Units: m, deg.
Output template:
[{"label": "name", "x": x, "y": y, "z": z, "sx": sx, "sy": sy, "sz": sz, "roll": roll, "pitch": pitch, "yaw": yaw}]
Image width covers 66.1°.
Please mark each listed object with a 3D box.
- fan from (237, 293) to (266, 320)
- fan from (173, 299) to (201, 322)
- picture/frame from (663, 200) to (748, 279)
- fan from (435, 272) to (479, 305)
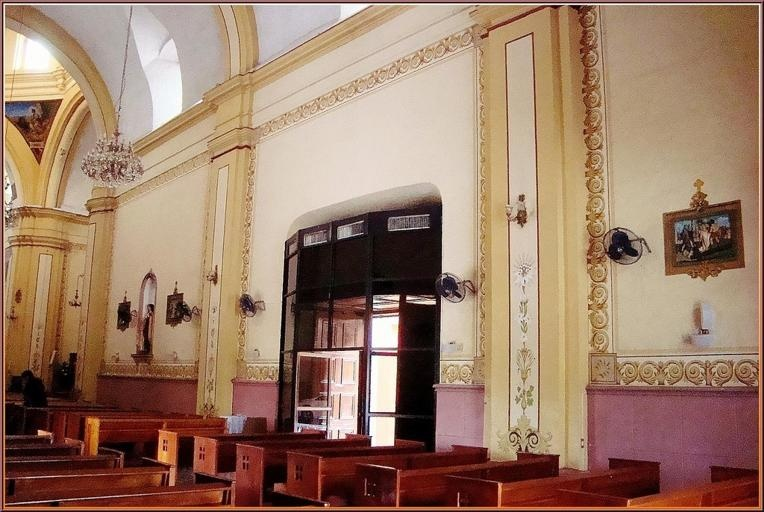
[{"label": "fan", "x": -2.345, "y": 0.857, "z": 10.330, "sx": 0.660, "sy": 0.444, "sz": 0.250, "roll": -12, "pitch": -18, "yaw": 43}, {"label": "fan", "x": -3.833, "y": 1.148, "z": 11.721, "sx": 0.525, "sy": 0.230, "sz": 0.548, "roll": 1, "pitch": -8, "yaw": 36}, {"label": "picture/frame", "x": 3.290, "y": -0.155, "z": 5.900, "sx": 0.779, "sy": 0.793, "sz": 0.087, "roll": -5, "pitch": -10, "yaw": 44}, {"label": "fan", "x": 0.980, "y": 0.415, "z": 7.658, "sx": 0.475, "sy": 0.315, "sz": 0.240, "roll": 15, "pitch": 14, "yaw": 13}]
